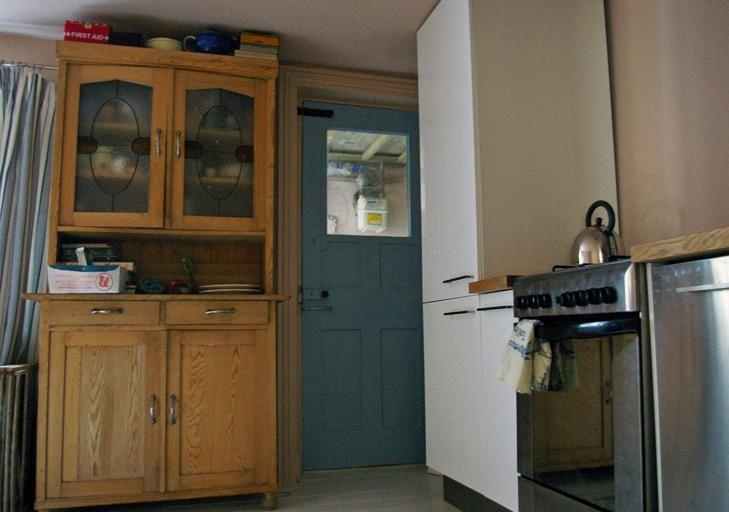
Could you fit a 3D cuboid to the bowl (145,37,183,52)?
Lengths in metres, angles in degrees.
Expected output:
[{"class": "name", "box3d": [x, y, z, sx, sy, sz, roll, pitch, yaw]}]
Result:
[{"class": "bowl", "box3d": [-1.260, -1.327, 4.412, 0.148, 0.052, 0.145, 1, -1, 0]}]

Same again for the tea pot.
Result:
[{"class": "tea pot", "box3d": [1.175, -0.103, 3.553, 0.234, 0.349, 0.241, 5, 6, -1]}]

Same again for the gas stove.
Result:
[{"class": "gas stove", "box3d": [0.899, 0.200, 3.119, 0.154, 0.343, 0.657, 0, -2, -26]}]
